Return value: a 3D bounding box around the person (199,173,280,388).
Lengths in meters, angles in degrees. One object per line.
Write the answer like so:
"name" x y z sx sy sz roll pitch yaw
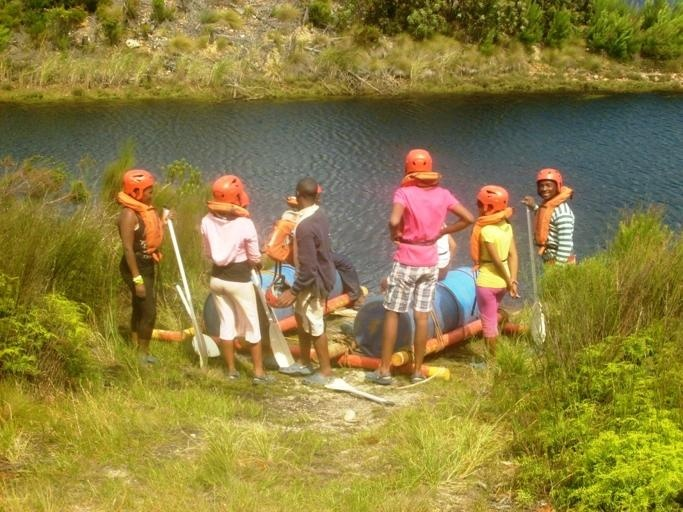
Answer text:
"person" -1.132 0.260 7.313 0.705 2.215 0.422 0 3 -14

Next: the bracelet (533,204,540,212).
"bracelet" 2.422 -0.608 8.519 0.081 0.086 0.085 4 2 39

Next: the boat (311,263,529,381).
"boat" 1.289 0.601 8.632 2.377 0.820 2.058 -19 11 -36

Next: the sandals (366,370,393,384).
"sandals" 0.425 1.346 7.686 0.303 0.143 0.128 9 13 35

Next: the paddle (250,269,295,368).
"paddle" -0.881 0.989 8.039 0.443 1.833 0.268 33 53 22

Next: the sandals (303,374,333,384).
"sandals" -0.257 1.338 7.486 0.243 0.108 0.135 3 -9 -1

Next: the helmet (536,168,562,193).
"helmet" 2.597 -0.959 8.495 0.281 0.309 0.578 1 3 21

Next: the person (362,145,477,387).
"person" 0.858 0.107 7.617 0.830 2.531 0.776 2 6 -10

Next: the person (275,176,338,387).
"person" -0.321 0.281 7.340 0.550 2.213 0.642 2 3 31

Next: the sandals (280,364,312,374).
"sandals" -0.524 1.267 7.709 0.246 0.109 0.142 5 -8 -5

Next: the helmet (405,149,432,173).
"helmet" 0.843 -1.000 7.484 0.216 0.266 0.285 2 -21 -3

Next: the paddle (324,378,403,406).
"paddle" 0.184 1.446 7.299 0.737 0.094 0.279 15 21 35

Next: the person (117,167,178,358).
"person" -2.178 0.115 7.423 0.473 2.087 0.561 0 3 5

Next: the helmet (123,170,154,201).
"helmet" -2.162 -0.755 7.360 0.327 0.319 0.257 17 -5 -16

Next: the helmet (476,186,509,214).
"helmet" 1.696 -0.664 7.625 0.325 0.269 0.261 24 24 5

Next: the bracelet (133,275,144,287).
"bracelet" -2.156 0.249 7.225 0.095 0.078 0.097 1 -1 -16
